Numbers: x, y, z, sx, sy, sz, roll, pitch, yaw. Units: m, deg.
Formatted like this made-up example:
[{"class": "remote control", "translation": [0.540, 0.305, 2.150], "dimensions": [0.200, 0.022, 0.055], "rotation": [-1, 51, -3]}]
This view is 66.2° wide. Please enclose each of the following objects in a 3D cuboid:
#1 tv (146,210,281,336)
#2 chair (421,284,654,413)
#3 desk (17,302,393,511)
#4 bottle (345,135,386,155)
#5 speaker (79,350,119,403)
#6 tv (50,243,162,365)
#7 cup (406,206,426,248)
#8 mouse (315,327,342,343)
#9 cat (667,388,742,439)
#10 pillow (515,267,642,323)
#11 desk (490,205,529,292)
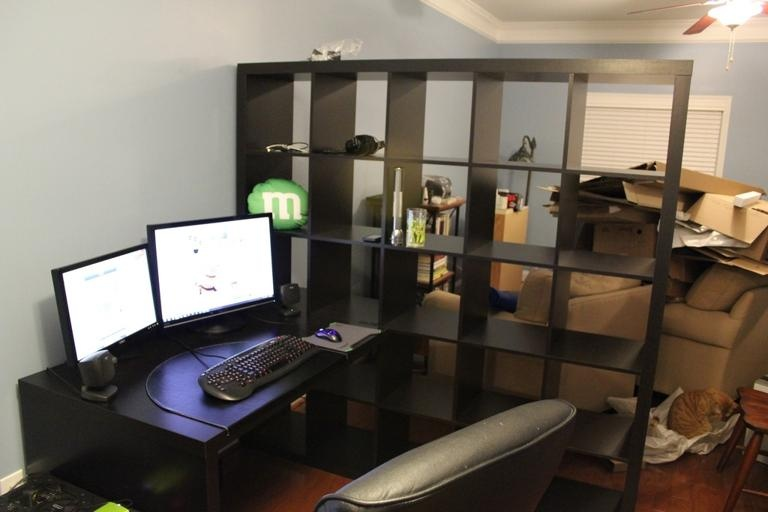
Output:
[{"class": "tv", "translation": [-0.919, 0.099, 3.071], "dimensions": [0.617, 0.517, 0.208], "rotation": [-13, 14, -42]}, {"class": "chair", "translation": [1.022, 0.463, 3.776], "dimensions": [0.993, 0.858, 1.021], "rotation": [9, 13, 28]}, {"class": "desk", "translation": [-0.935, 0.287, 2.711], "dimensions": [0.980, 0.744, 1.492], "rotation": [7, 15, 26]}, {"class": "bottle", "translation": [-0.132, -0.634, 3.350], "dimensions": [0.181, 0.066, 0.134], "rotation": [-2, 16, 5]}, {"class": "speaker", "translation": [-1.235, 0.509, 2.541], "dimensions": [0.156, 0.202, 0.172], "rotation": [-11, 22, -37]}, {"class": "tv", "translation": [-1.309, 0.222, 2.720], "dimensions": [0.052, 0.411, 0.498], "rotation": [2, 20, 26]}, {"class": "cup", "translation": [0.169, -0.167, 3.239], "dimensions": [0.115, 0.196, 0.211], "rotation": [3, 18, 1]}, {"class": "mouse", "translation": [-0.293, 0.403, 3.048], "dimensions": [0.115, 0.028, 0.065], "rotation": [12, 20, 34]}, {"class": "cat", "translation": [2.029, 0.975, 3.748], "dimensions": [0.430, 0.251, 0.200], "rotation": [-22, -9, -13]}, {"class": "pillow", "translation": [1.132, 0.210, 3.672], "dimensions": [0.472, 0.196, 0.447], "rotation": [10, 15, 44]}, {"class": "desk", "translation": [1.059, -0.070, 5.075], "dimensions": [0.294, 0.806, 0.907], "rotation": [5, 8, 23]}]
